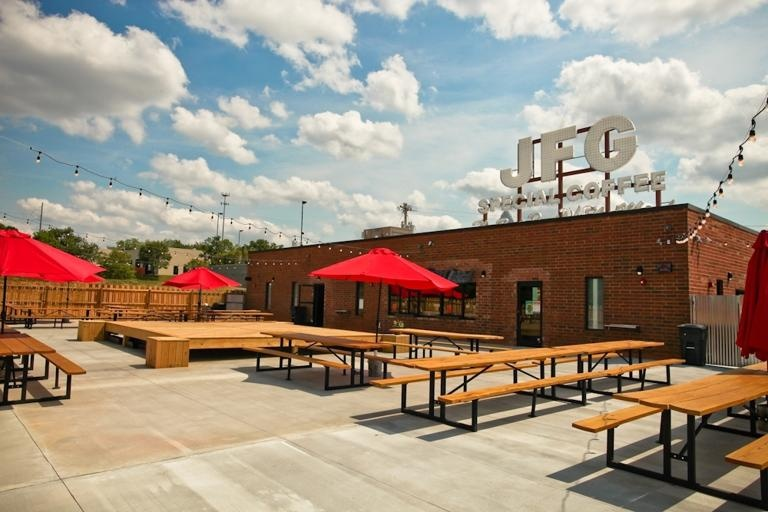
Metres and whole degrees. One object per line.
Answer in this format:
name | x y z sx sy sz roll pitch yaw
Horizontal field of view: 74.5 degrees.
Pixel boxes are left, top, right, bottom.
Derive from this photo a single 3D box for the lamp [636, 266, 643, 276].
lamp | 7.959 0.425 15.804 0.071 0.309 0.227 10 -10 -40
